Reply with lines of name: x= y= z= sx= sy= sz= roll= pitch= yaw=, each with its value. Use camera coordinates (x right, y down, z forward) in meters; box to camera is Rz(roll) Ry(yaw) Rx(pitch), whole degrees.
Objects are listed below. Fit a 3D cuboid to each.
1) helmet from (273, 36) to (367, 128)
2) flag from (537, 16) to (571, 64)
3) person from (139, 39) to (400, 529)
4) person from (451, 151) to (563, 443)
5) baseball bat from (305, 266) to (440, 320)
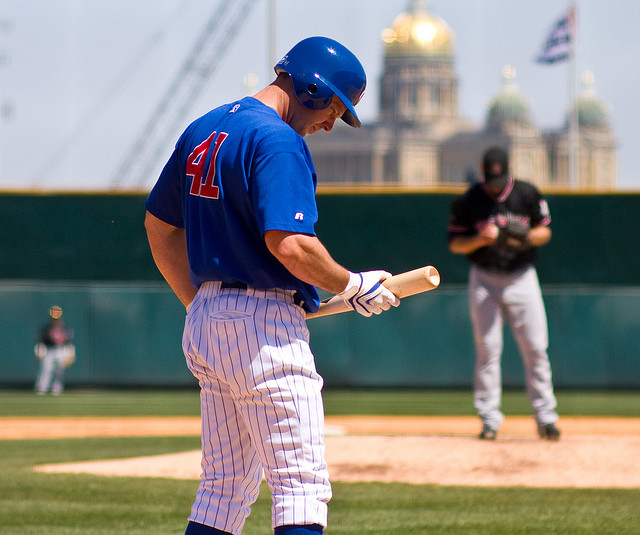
helmet: x=0.017 y=-1.005 z=8.047 sx=0.571 sy=0.395 sz=0.391 roll=25 pitch=1 yaw=2
flag: x=1.786 y=-1.681 z=11.508 sx=0.230 sy=0.352 sz=0.101 roll=4 pitch=-14 yaw=46
person: x=-0.274 y=0.097 z=7.822 sx=1.191 sy=2.427 sz=0.825 roll=1 pitch=14 yaw=0
person: x=1.217 y=0.235 z=9.913 sx=0.765 sy=1.895 sz=0.558 roll=2 pitch=14 yaw=6
baseball bat: x=0.285 y=0.164 z=8.728 sx=0.682 sy=0.126 sz=0.147 roll=-21 pitch=-34 yaw=22
